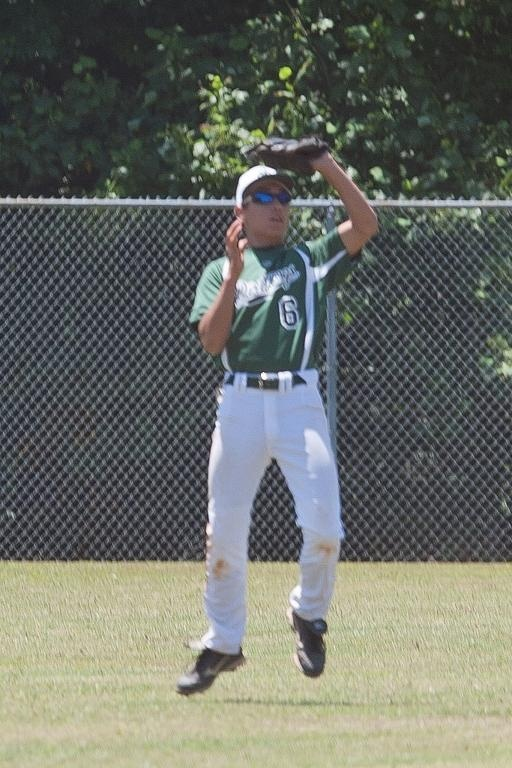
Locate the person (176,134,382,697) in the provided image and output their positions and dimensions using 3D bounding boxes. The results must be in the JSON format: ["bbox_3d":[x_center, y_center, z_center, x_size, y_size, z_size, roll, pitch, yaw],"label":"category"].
[{"bbox_3d":[0.079,0.157,6.134,0.757,2.371,0.475,1,9,8],"label":"person"}]

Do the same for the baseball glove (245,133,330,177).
[{"bbox_3d":[0.132,-0.968,6.109,0.372,0.161,0.279,2,11,12],"label":"baseball glove"}]

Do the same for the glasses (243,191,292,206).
[{"bbox_3d":[0.058,-0.790,6.109,0.090,0.035,0.105,1,-11,-17],"label":"glasses"}]
